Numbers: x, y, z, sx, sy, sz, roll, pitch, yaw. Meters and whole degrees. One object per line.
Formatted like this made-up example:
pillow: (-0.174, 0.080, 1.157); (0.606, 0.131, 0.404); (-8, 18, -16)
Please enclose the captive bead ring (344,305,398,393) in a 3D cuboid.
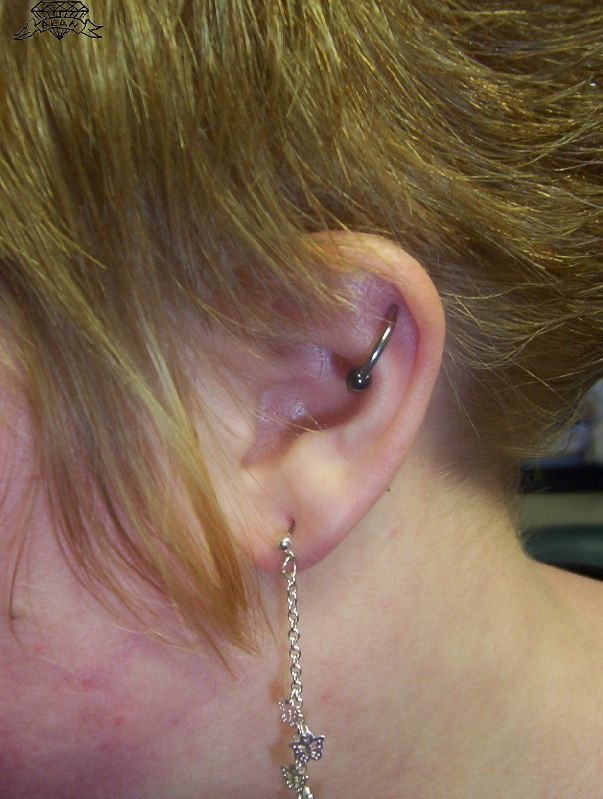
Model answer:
captive bead ring: (0.056, -0.044, 0.796); (0.022, 0.051, 0.063); (33, 103, 0)
